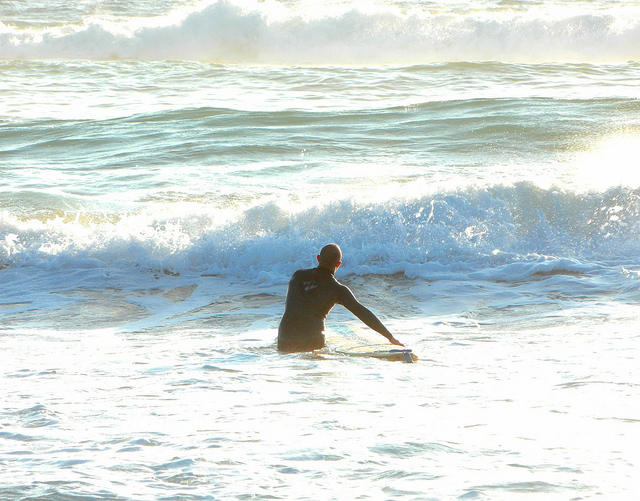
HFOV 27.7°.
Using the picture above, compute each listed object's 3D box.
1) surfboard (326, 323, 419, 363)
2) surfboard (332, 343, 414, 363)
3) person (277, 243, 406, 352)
[{"bbox_3d":[0.750,1.651,23.463,0.617,0.216,1.850,-11,11,-35],"label":"surfboard"},{"bbox_3d":[1.081,1.789,23.085,1.898,0.222,0.427,5,14,37],"label":"surfboard"},{"bbox_3d":[0.133,0.841,23.150,1.701,1.937,0.492,2,15,-2],"label":"person"}]
